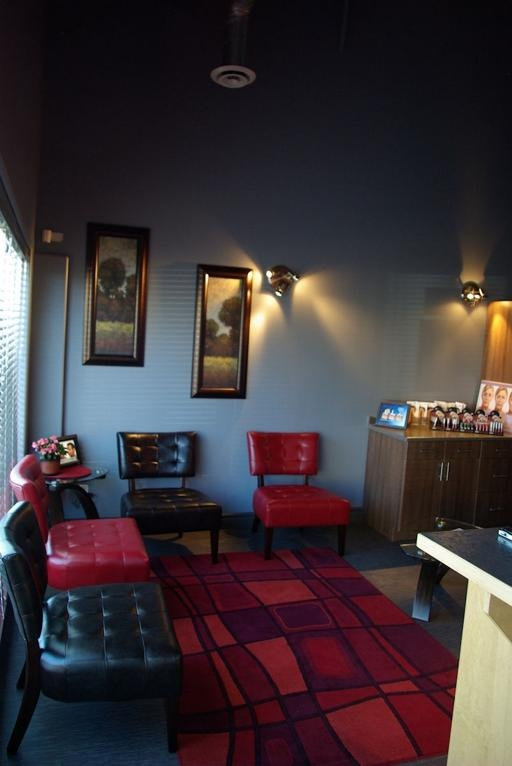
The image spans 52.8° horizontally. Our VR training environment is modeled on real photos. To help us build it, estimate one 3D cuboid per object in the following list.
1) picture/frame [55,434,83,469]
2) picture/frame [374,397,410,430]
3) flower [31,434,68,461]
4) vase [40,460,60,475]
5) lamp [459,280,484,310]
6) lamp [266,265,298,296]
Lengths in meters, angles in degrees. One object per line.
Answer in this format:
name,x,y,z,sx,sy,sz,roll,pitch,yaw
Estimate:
picture/frame,-1.320,0.474,3.593,0.022,0.193,0.225,-17,-1,20
picture/frame,1.211,0.277,4.588,0.286,0.248,0.038,-1,-24,40
flower,-1.354,0.414,3.371,0.222,0.211,0.218,3,-2,-25
vase,-1.305,0.528,3.257,0.097,0.075,0.097,1,-1,0
lamp,2.115,-0.839,4.939,0.288,0.276,0.108,3,1,-27
lamp,0.188,-0.842,4.259,0.264,0.220,0.136,-16,-4,-9
